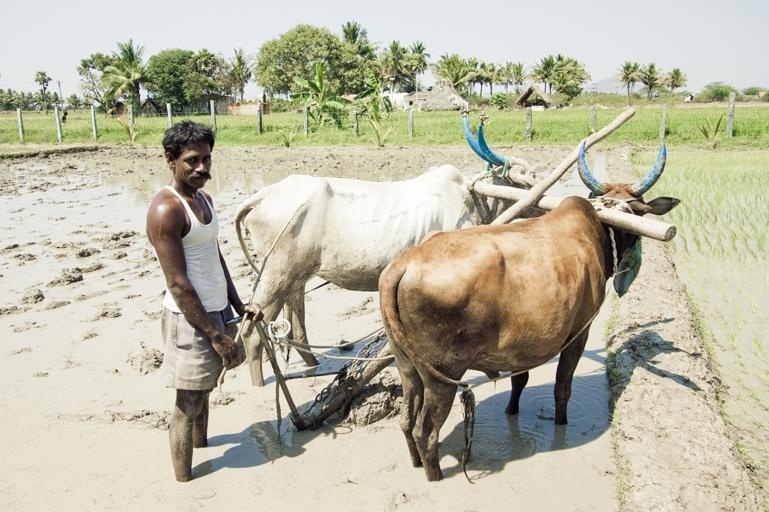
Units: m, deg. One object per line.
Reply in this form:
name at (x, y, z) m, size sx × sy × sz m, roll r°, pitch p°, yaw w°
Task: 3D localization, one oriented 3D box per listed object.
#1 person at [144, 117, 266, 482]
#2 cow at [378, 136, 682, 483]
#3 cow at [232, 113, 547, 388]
person at (-1.696, 0.450, 6.989) m, size 0.829 × 3.314 × 0.706 m, roll -11°, pitch 17°, yaw -32°
cow at (1.545, 0.515, 7.939) m, size 3.942 × 2.980 × 1.319 m, roll -16°, pitch 22°, yaw -38°
cow at (0.278, -0.420, 9.619) m, size 4.374 × 3.274 × 1.729 m, roll -11°, pitch 18°, yaw -15°
